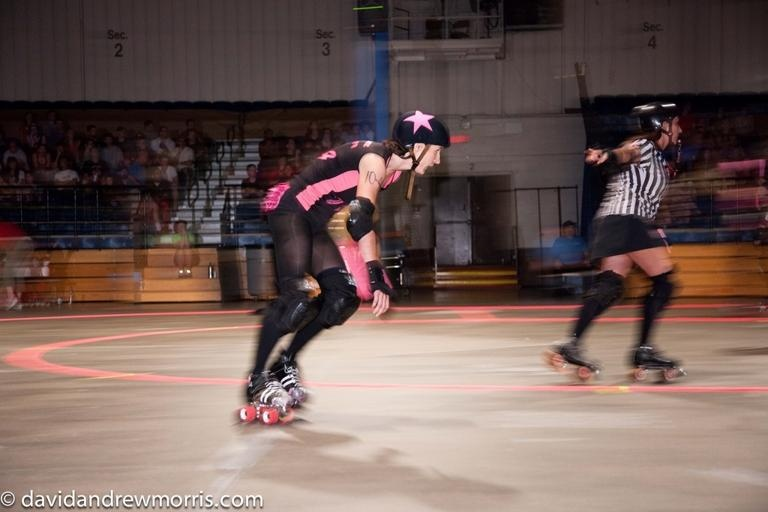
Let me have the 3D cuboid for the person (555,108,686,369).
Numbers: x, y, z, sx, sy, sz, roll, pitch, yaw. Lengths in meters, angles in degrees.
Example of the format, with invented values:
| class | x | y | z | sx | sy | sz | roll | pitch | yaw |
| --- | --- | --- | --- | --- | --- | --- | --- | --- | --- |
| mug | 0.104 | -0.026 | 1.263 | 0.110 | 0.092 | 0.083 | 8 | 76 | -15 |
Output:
| class | x | y | z | sx | sy | sz | roll | pitch | yaw |
| --- | --- | --- | --- | --- | --- | --- | --- | --- | --- |
| person | 1.961 | -0.118 | 6.275 | 0.884 | 2.180 | 0.872 | 3 | 12 | 20 |
